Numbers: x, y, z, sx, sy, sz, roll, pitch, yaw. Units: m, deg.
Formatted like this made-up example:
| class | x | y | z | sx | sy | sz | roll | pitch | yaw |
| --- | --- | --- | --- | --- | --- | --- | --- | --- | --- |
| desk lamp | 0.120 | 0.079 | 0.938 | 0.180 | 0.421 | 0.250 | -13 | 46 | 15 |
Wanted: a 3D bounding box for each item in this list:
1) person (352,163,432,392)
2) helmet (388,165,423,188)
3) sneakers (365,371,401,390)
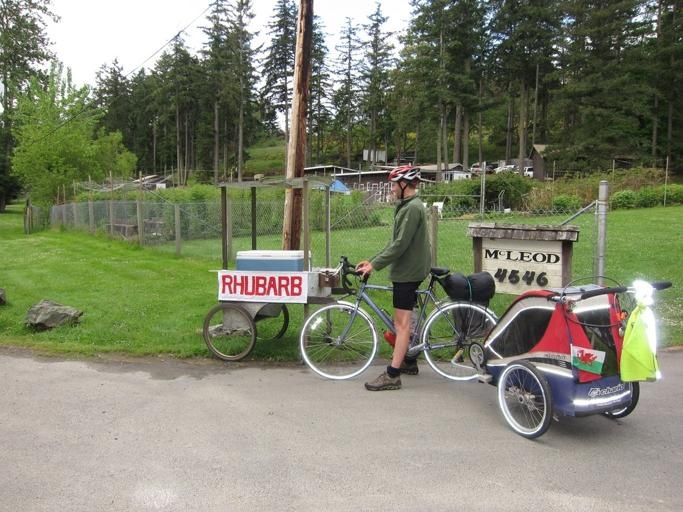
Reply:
| class | x | y | z | sx | sy | sz | roll | pitch | yaw |
| --- | --- | --- | --- | --- | --- | --- | --- | --- | --- |
| person | 0.771 | 0.271 | 9.948 | 0.723 | 2.923 | 1.099 | 6 | 14 | 28 |
| helmet | 0.888 | -1.111 | 10.010 | 0.334 | 0.204 | 0.258 | 1 | 11 | 6 |
| sneakers | 0.593 | 1.701 | 9.914 | 0.428 | 0.222 | 0.226 | 3 | -5 | -3 |
